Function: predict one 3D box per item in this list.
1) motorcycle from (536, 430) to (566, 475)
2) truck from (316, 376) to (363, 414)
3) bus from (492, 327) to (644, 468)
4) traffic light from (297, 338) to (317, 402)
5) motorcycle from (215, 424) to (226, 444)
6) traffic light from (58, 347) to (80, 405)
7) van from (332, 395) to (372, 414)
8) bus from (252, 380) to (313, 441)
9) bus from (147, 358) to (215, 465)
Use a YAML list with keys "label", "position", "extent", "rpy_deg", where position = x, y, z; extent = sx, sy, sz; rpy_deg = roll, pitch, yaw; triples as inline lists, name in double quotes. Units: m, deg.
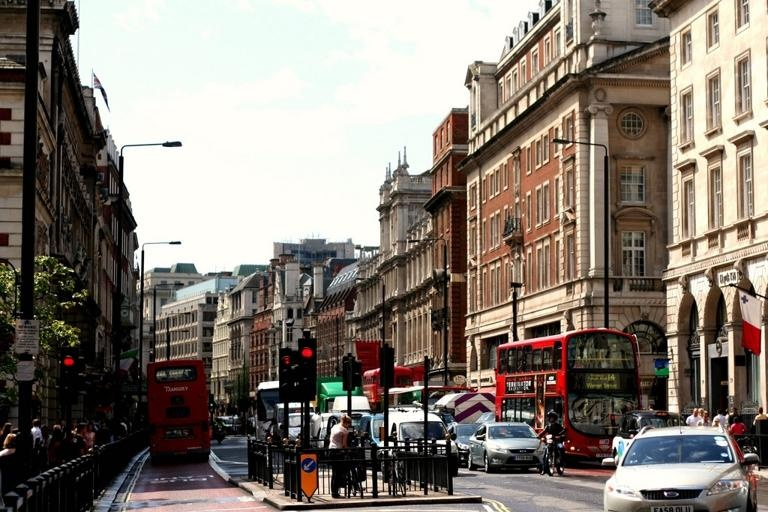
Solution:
- label: "motorcycle"
  position: [6.810, 8.175, 62.479]
  extent: [0.957, 1.967, 2.098]
  rpy_deg: [-1, -15, 4]
- label: "truck"
  position: [-2.978, 8.213, 91.121]
  extent: [2.309, 2.349, 4.012]
  rpy_deg: [3, -16, -17]
- label: "bus"
  position: [8.221, 6.326, 69.715]
  extent: [3.276, 4.838, 9.017]
  rpy_deg: [2, -9, -19]
- label: "traffic light"
  position: [-2.715, 4.014, 53.808]
  extent: [0.596, 2.349, 0.742]
  rpy_deg: [1, -14, -8]
- label: "motorcycle"
  position: [-11.194, 12.235, 105.724]
  extent: [0.836, 1.214, 1.990]
  rpy_deg: [0, -17, -8]
- label: "traffic light"
  position: [-10.600, 4.025, 51.920]
  extent: [0.635, 1.931, 0.878]
  rpy_deg: [1, -14, -6]
- label: "van"
  position: [-1.708, 7.903, 81.144]
  extent: [1.095, 1.000, 1.899]
  rpy_deg: [4, -12, -27]
- label: "bus"
  position: [-5.671, 8.460, 84.807]
  extent: [2.057, 3.103, 5.971]
  rpy_deg: [1, -12, -8]
- label: "bus"
  position: [-9.893, 7.184, 73.738]
  extent: [2.868, 4.553, 1.023]
  rpy_deg: [3, -14, -15]
